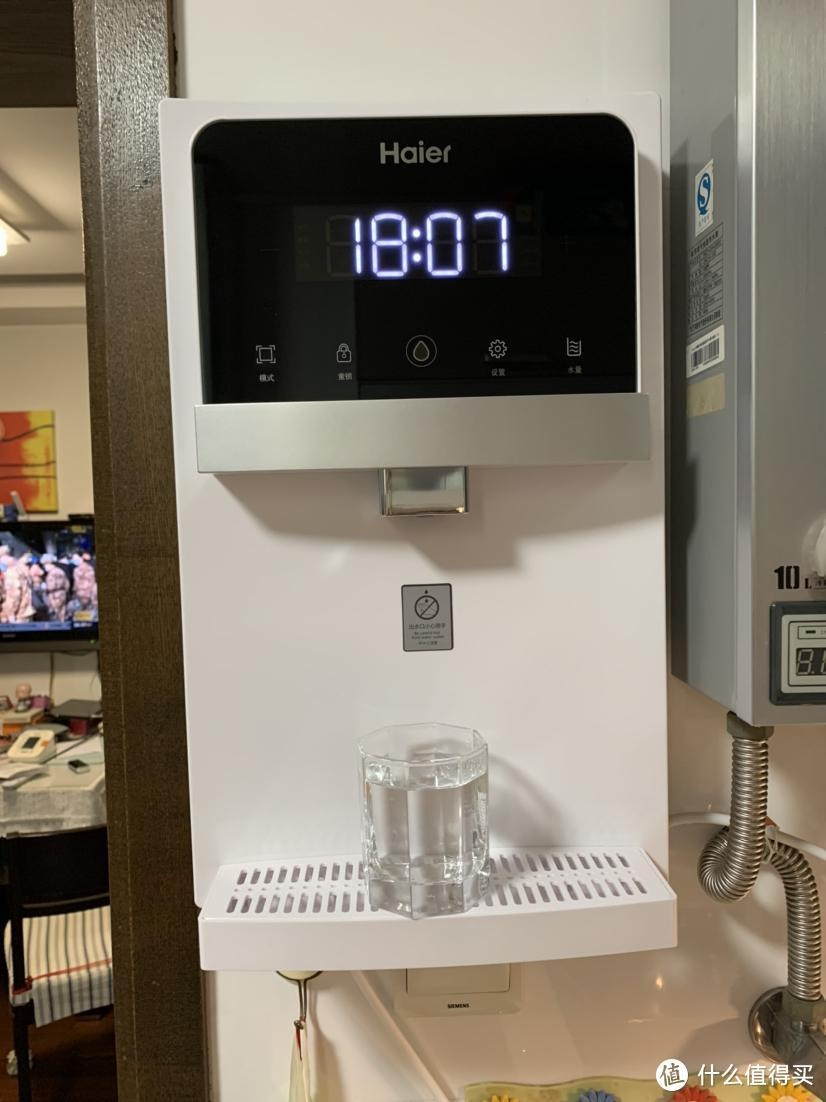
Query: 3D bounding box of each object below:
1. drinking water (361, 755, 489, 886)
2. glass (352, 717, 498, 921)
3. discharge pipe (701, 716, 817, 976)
[{"bbox_3d":[0.004,0.190,0.724,0.091,0.095,0.088,1,-5,-23],"label":"drinking water"},{"bbox_3d":[0.012,0.192,0.752,0.114,0.125,0.113,-3,1,11],"label":"glass"},{"bbox_3d":[0.280,0.239,0.840,0.088,0.239,0.100,-3,14,2],"label":"discharge pipe"}]
